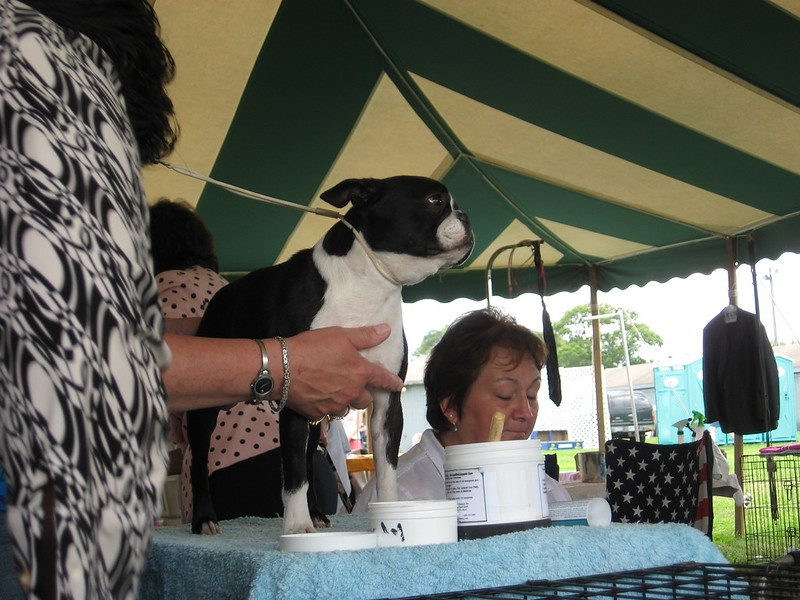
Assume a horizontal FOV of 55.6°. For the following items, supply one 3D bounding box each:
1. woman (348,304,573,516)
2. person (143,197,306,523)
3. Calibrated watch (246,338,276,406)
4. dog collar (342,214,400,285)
[{"bbox_3d":[0.320,0.551,3.483,0.975,1.024,0.744,1,-2,-4],"label":"woman"},{"bbox_3d":[-0.651,0.428,2.924,0.369,0.966,1.628,5,-21,-22],"label":"person"},{"bbox_3d":[-0.299,0.164,1.663,0.070,0.149,0.109,-2,7,-30],"label":"Calibrated watch"},{"bbox_3d":[-0.098,-0.150,2.311,0.051,0.212,0.159,-43,-11,12],"label":"dog collar"}]
